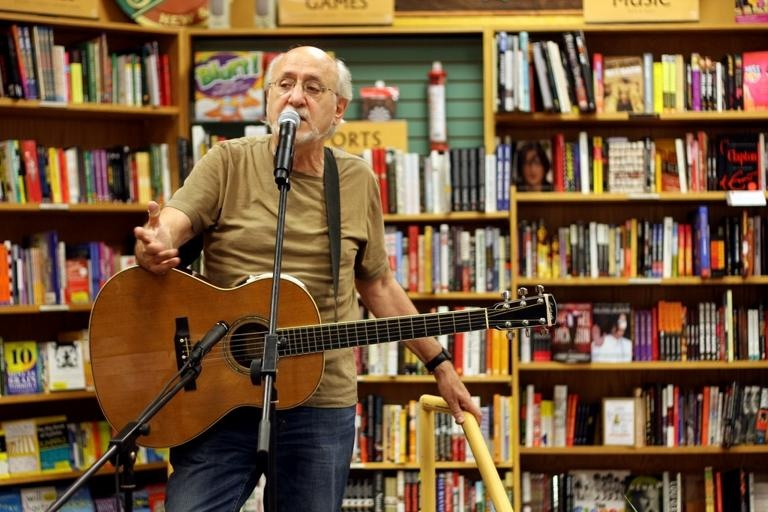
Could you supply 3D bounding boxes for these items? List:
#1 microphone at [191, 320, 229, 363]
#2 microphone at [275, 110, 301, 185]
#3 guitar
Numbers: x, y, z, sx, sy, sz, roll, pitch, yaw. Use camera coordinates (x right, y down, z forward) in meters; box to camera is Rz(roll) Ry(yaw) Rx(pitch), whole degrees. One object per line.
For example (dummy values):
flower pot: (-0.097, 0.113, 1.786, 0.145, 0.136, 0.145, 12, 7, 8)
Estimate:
microphone: (-0.917, 0.452, 5.954, 0.053, 0.064, 0.261, 14, 46, 31)
microphone: (-0.511, -0.573, 5.950, 0.124, 0.437, 0.283, 0, 0, -2)
guitar: (-0.363, 0.426, 5.847, 2.388, 1.201, 0.390, -8, 4, -10)
